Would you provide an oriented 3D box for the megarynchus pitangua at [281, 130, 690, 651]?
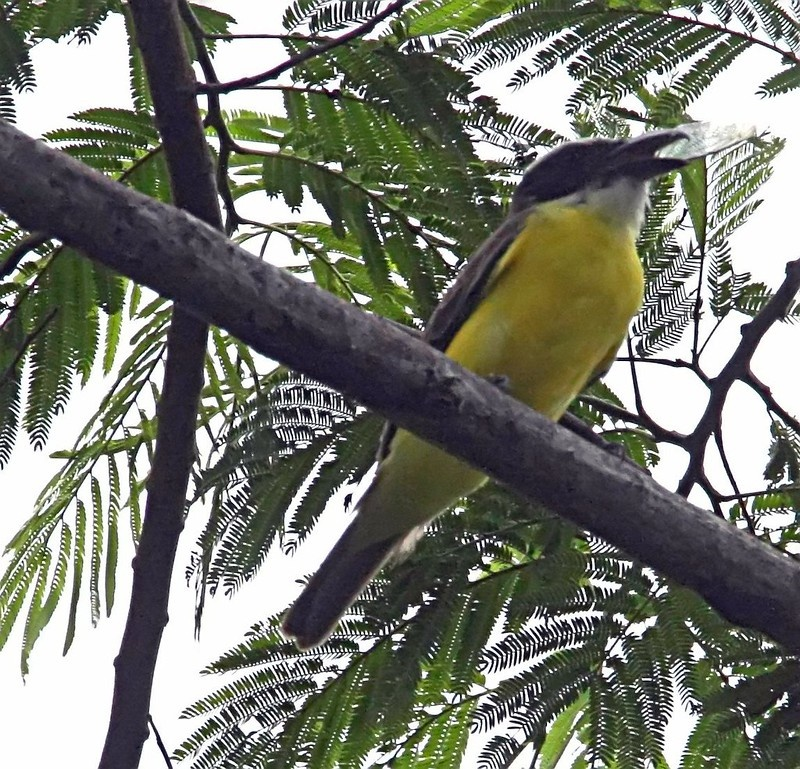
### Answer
[{"bbox_3d":[0.271,0.066,6.328,1.991,0.878,0.596,-42,-47,-3],"label":"megarynchus pitangua"}]
